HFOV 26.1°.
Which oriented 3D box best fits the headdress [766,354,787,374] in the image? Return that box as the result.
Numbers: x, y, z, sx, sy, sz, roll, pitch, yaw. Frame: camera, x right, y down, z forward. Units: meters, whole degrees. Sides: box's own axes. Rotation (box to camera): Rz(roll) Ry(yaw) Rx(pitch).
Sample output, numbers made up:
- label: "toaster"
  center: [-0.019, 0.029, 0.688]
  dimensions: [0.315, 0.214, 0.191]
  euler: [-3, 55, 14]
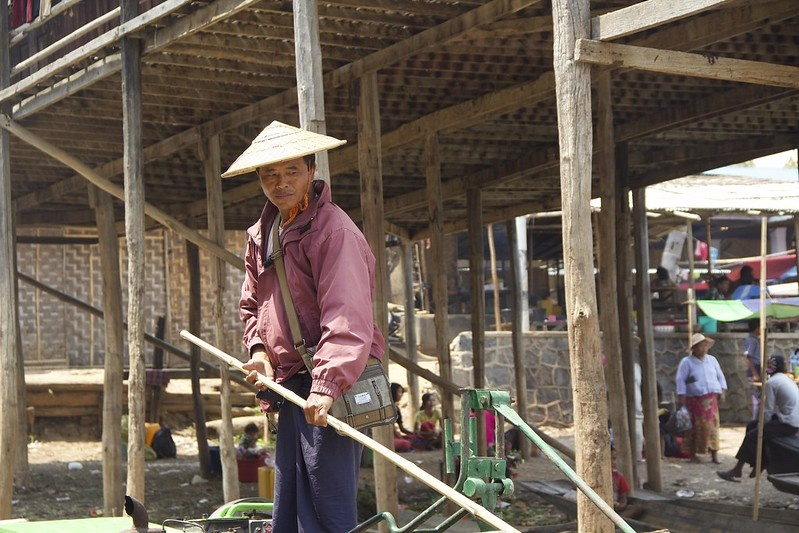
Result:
- label: "headdress"
  center: [6.152, 1.636, 28.459]
  dimensions: [0.400, 0.383, 0.318]
  euler: [-5, -2, 38]

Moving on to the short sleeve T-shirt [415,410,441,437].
- label: "short sleeve T-shirt"
  center: [0.498, 2.903, 31.498]
  dimensions: [0.382, 0.395, 0.421]
  euler: [1, -33, -2]

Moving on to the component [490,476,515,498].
- label: "component"
  center: [1.262, 2.762, 21.356]
  dimensions: [0.261, 0.227, 0.267]
  euler: [-5, -7, 1]

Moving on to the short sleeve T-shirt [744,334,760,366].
- label: "short sleeve T-shirt"
  center: [6.382, 1.529, 31.268]
  dimensions: [0.319, 0.546, 0.572]
  euler: [-6, 4, 0]

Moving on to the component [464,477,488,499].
- label: "component"
  center: [0.920, 2.760, 21.240]
  dimensions: [0.284, 0.252, 0.088]
  euler: [-3, -7, -10]

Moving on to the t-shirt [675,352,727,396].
- label: "t-shirt"
  center: [5.309, 1.920, 30.313]
  dimensions: [0.997, 0.827, 0.501]
  euler: [-2, -6, -21]

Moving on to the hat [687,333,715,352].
- label: "hat"
  center: [5.227, 1.283, 30.323]
  dimensions: [0.354, 0.109, 0.378]
  euler: [-7, -18, -9]

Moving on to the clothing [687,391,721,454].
- label: "clothing"
  center: [5.246, 2.740, 30.302]
  dimensions: [0.685, 1.037, 0.545]
  euler: [-2, 10, -5]
